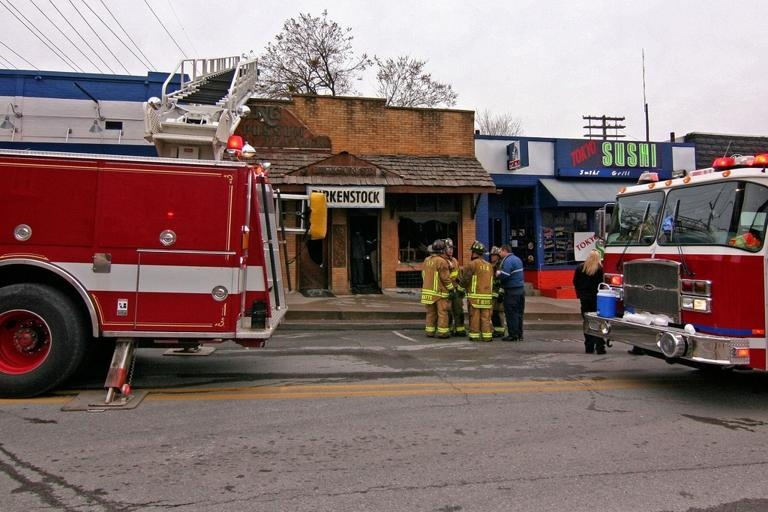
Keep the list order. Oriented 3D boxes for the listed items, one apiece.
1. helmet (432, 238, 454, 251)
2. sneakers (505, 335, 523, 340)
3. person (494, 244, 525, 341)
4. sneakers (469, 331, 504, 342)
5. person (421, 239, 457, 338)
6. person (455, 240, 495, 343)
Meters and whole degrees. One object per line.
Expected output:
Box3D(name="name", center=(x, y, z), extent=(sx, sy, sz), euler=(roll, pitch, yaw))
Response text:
Box3D(name="helmet", center=(1.138, -0.234, 13.925), extent=(0.372, 0.222, 0.255), euler=(-7, 10, -14))
Box3D(name="sneakers", center=(2.564, 1.604, 13.868), extent=(0.354, 0.145, 0.117), euler=(3, -2, 6))
Box3D(name="person", center=(2.457, 0.794, 13.748), extent=(0.543, 1.653, 0.358), euler=(2, 11, 8))
Box3D(name="sneakers", center=(1.936, 1.562, 13.652), extent=(0.484, 0.117, 0.290), euler=(-3, -3, 41))
Box3D(name="person", center=(1.042, 0.653, 13.907), extent=(0.540, 1.953, 0.669), euler=(1, 11, -1))
Box3D(name="person", center=(1.807, 0.682, 13.595), extent=(0.614, 1.856, 0.472), euler=(2, 11, 7))
